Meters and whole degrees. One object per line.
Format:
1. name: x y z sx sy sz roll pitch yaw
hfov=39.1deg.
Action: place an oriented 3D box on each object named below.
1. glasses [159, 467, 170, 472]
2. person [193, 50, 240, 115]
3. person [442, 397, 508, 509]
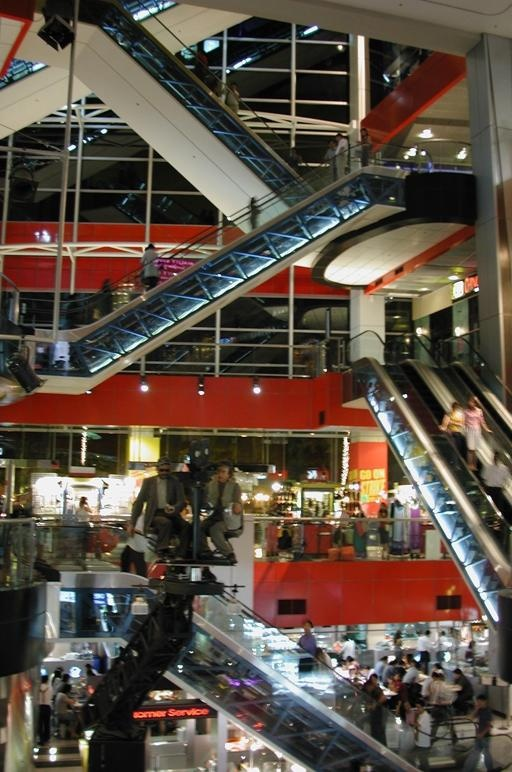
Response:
1. glasses: -1.004 0.917 7.894 0.107 0.059 0.070 2 -7 -11
2. person: -0.759 -6.307 15.462 0.648 1.085 1.599 -2 -7 24
3. person: 3.262 0.973 10.565 0.422 1.726 0.474 11 -47 -25
